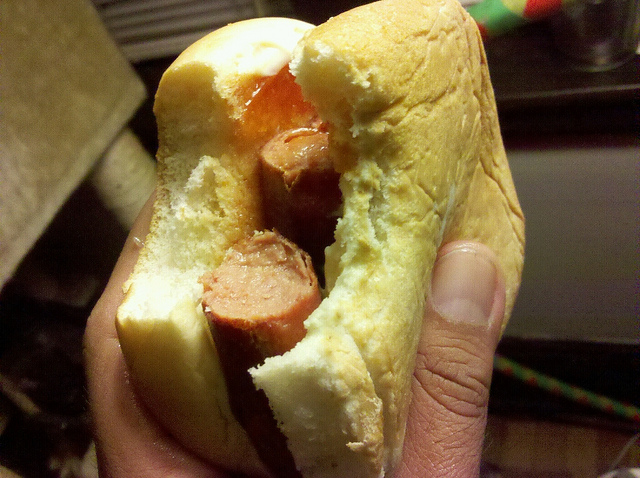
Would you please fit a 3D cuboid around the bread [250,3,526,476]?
[{"bbox_3d":[0.204,-0.001,2.026,0.492,0.997,1.218,15,58,25],"label":"bread"}]
